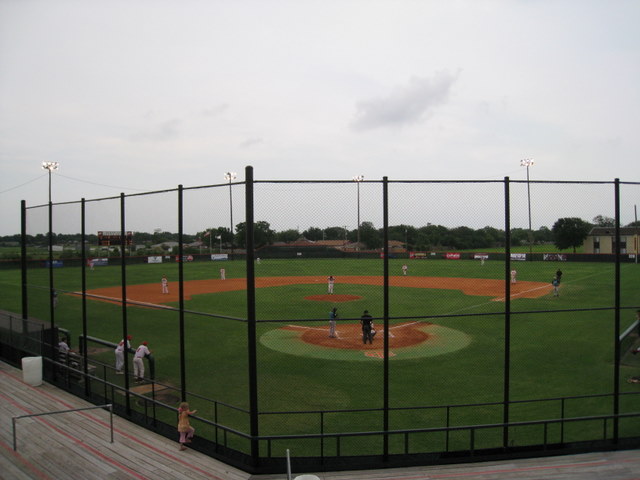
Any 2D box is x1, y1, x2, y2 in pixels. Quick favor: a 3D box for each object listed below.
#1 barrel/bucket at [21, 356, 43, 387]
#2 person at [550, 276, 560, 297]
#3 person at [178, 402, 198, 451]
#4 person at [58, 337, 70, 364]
[{"bbox_3d":[-13.215,5.998,34.265,0.865,1.280,0.658,0,0,-21],"label":"barrel/bucket"},{"bbox_3d":[18.597,3.676,58.503,0.569,1.403,0.757,3,-25,22],"label":"person"},{"bbox_3d":[-5.371,7.394,29.960,0.624,1.847,0.687,0,0,-10],"label":"person"},{"bbox_3d":[-12.451,5.386,36.219,0.308,0.412,1.053,-2,26,-32],"label":"person"}]
